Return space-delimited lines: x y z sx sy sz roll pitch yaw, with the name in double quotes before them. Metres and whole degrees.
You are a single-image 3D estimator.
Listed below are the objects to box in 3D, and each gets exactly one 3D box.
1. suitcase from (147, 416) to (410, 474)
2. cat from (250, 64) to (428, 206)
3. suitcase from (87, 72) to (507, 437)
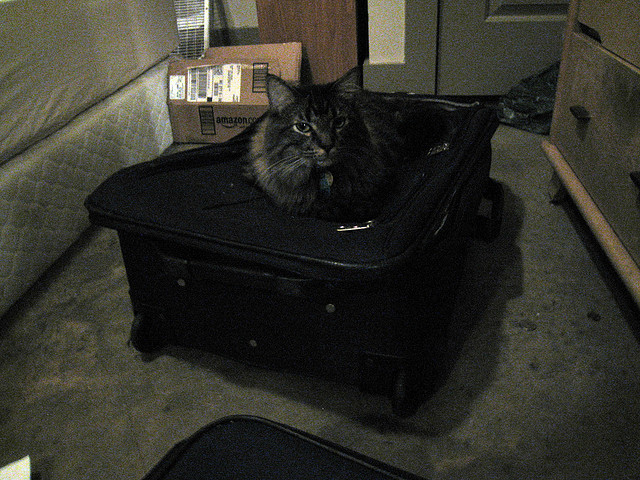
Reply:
"suitcase" -0.084 0.350 0.939 0.367 0.036 0.102 4 37 9
"cat" -0.089 -0.322 1.563 0.495 0.273 0.582 -6 24 -17
"suitcase" 0.045 -0.057 1.779 0.895 0.418 1.111 9 28 20
